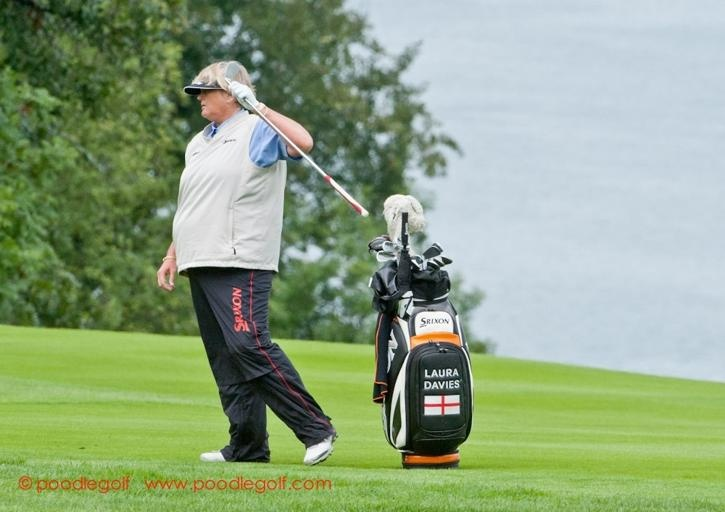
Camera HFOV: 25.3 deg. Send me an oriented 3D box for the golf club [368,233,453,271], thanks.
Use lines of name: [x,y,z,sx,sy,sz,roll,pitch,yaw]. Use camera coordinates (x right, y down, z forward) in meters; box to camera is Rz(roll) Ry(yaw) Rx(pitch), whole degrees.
golf club: [0.311,-0.040,11.543,0.456,0.185,0.258,1,-21,0]

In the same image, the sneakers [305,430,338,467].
sneakers: [-0.307,1.367,11.377,0.298,0.137,0.107,-40,-16,-40]

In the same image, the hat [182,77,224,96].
hat: [-1.157,-1.240,11.633,0.206,0.068,0.127,-1,-14,-19]

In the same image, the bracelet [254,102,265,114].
bracelet: [-0.733,-1.052,11.357,0.058,0.080,0.032,-1,-12,-4]

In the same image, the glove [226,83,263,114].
glove: [-0.857,-1.158,11.444,0.111,0.118,0.386,2,29,-34]

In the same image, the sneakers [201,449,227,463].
sneakers: [-1.056,1.403,11.413,0.181,0.074,0.067,7,-10,-8]
